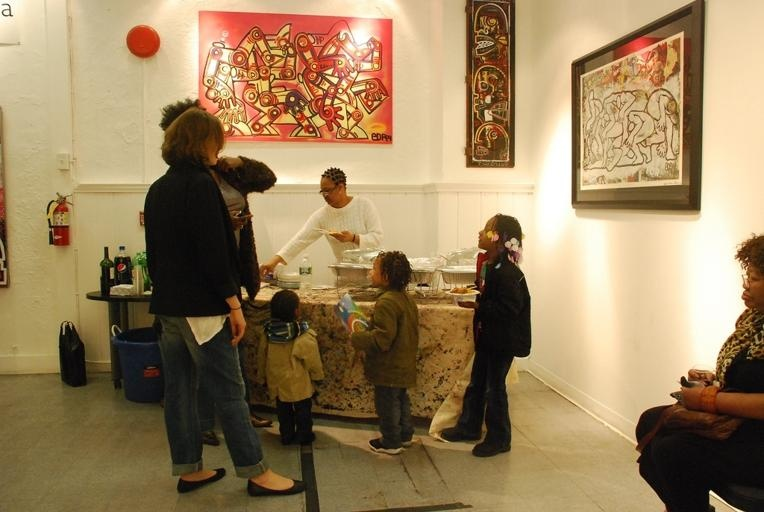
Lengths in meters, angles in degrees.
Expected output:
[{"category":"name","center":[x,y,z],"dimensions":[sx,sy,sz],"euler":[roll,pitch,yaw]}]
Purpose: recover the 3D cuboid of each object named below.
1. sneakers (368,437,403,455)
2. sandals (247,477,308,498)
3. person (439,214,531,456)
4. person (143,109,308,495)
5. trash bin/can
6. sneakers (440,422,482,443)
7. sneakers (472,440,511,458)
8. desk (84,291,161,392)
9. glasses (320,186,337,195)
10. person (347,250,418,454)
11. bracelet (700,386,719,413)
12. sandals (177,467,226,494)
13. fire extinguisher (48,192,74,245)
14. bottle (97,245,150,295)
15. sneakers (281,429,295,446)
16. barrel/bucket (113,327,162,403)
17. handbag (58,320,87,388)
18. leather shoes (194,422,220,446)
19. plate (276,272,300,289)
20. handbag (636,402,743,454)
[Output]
[{"category":"sneakers","center":[0.017,1.342,4.007],"dimensions":[0.243,0.109,0.099],"euler":[4,4,22]},{"category":"sandals","center":[-0.652,1.443,3.560],"dimensions":[0.393,0.154,0.129],"euler":[0,-2,-9]},{"category":"person","center":[0.776,0.546,3.976],"dimensions":[0.504,1.647,0.515],"euler":[7,14,29]},{"category":"person","center":[-1.035,0.490,3.381],"dimensions":[0.830,1.988,0.301],"euler":[2,13,9]},{"category":"trash bin/can","center":[-2.043,0.935,4.897],"dimensions":[0.523,0.563,0.524],"euler":[1,-1,5]},{"category":"sneakers","center":[0.573,1.303,4.188],"dimensions":[0.329,0.138,0.119],"euler":[4,1,-6]},{"category":"sneakers","center":[0.779,1.339,3.944],"dimensions":[0.229,0.100,0.105],"euler":[3,-2,-10]},{"category":"desk","center":[-2.386,0.764,5.139],"dimensions":[0.837,0.902,0.844],"euler":[-1,4,-30]},{"category":"glasses","center":[-0.453,-0.548,4.716],"dimensions":[0.069,0.071,0.021],"euler":[2,12,-25]},{"category":"person","center":[0.023,0.677,3.930],"dimensions":[0.452,1.387,0.328],"euler":[1,12,3]},{"category":"bracelet","center":[1.618,0.702,2.779],"dimensions":[0.046,0.115,0.087],"euler":[15,15,-28]},{"category":"sandals","center":[-1.152,1.425,3.616],"dimensions":[0.109,0.088,0.299],"euler":[3,5,38]},{"category":"fire extinguisher","center":[-3.060,-0.337,5.314],"dimensions":[0.233,0.494,0.178],"euler":[-1,13,-7]},{"category":"bottle","center":[-2.323,0.140,5.052],"dimensions":[0.459,0.426,0.159],"euler":[0,0,-5]},{"category":"sneakers","center":[-0.674,1.303,4.069],"dimensions":[0.082,0.133,0.127],"euler":[-2,8,10]},{"category":"barrel/bucket","center":[-2.055,0.935,4.904],"dimensions":[0.525,0.565,0.511],"euler":[0,1,0]},{"category":"handbag","center":[-2.857,0.886,5.190],"dimensions":[0.218,0.522,0.408],"euler":[-7,14,-28]},{"category":"leather shoes","center":[-1.300,1.293,4.164],"dimensions":[0.108,0.124,0.294],"euler":[0,2,-45]},{"category":"plate","center":[-0.773,0.203,4.764],"dimensions":[0.153,0.086,0.152],"euler":[1,4,4]},{"category":"handbag","center":[1.604,0.888,2.897],"dimensions":[0.465,0.186,0.519],"euler":[-15,-15,33]}]
